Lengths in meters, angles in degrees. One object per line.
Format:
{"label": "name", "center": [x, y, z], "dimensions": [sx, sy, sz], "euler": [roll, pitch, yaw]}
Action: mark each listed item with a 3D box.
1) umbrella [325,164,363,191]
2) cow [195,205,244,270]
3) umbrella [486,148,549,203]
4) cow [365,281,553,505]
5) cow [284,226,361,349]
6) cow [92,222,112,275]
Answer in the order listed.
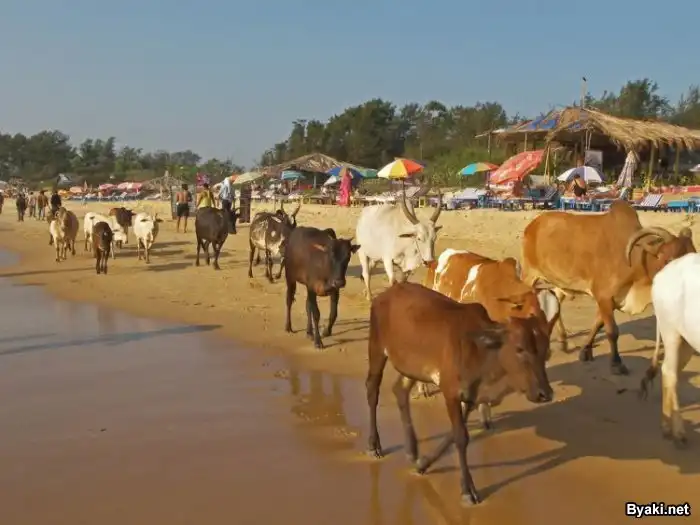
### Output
{"label": "umbrella", "center": [-0.527, -5.290, 38.945], "dimensions": [1.998, 1.052, 2.092], "euler": [3, 8, 38]}
{"label": "cow", "center": [-3.612, -0.653, 17.651], "dimensions": [1.018, 1.526, 1.656], "euler": [-9, 16, -36]}
{"label": "umbrella", "center": [6.330, -3.287, 25.267], "dimensions": [1.567, 2.032, 4.079], "euler": [4, 14, 15]}
{"label": "cow", "center": [1.034, 1.294, 6.708], "dimensions": [1.970, 1.868, 0.705], "euler": [10, 15, 36]}
{"label": "cow", "center": [-0.578, 0.358, 10.991], "dimensions": [0.912, 1.714, 1.814], "euler": [-5, 14, -21]}
{"label": "cow", "center": [-6.261, -0.377, 16.914], "dimensions": [0.492, 1.286, 1.265], "euler": [-4, 14, -20]}
